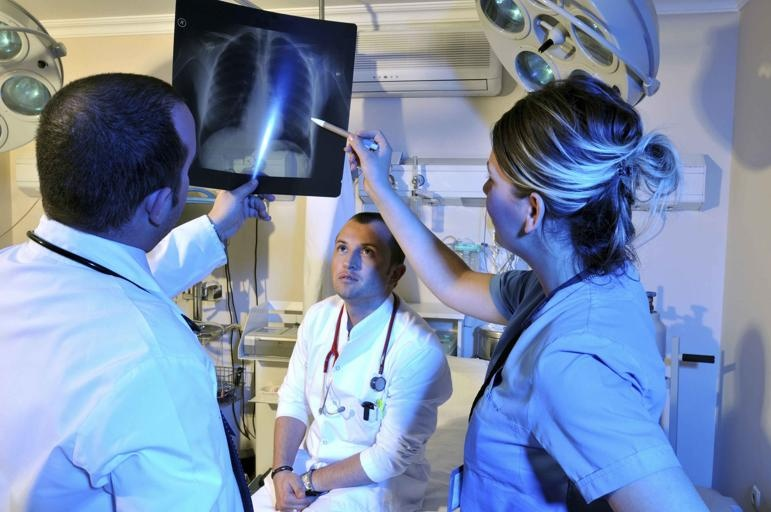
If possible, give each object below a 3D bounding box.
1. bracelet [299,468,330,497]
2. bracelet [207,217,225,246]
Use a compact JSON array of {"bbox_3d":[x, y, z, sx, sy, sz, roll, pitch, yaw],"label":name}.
[{"bbox_3d":[-0.278,0.833,2.459,0.068,0.042,0.094,2,6,20],"label":"bracelet"},{"bbox_3d":[-0.602,-0.102,2.397,0.067,0.031,0.082,2,-50,43],"label":"bracelet"}]
